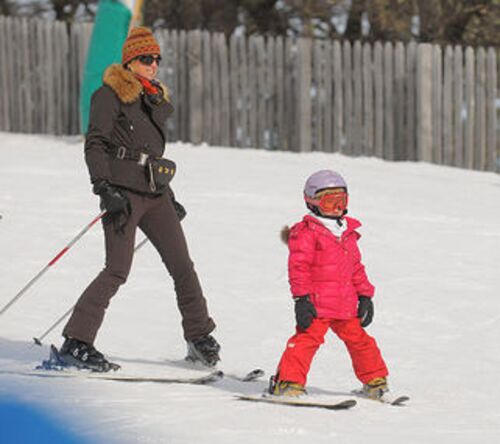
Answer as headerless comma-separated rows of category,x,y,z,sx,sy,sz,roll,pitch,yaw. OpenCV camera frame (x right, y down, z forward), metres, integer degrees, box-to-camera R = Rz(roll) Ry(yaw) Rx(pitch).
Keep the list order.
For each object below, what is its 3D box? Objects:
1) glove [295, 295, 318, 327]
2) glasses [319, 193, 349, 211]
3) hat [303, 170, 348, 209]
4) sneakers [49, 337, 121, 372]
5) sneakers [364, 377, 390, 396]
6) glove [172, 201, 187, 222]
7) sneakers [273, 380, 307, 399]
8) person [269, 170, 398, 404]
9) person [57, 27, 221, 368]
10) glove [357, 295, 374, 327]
glove,0.382,0.622,7.161,0.152,0.254,0.131,6,6,19
glasses,0.593,-0.140,7.238,0.116,0.090,0.169,-2,1,-16
hat,0.523,-0.234,7.396,0.262,0.225,0.243,-3,1,45
sneakers,-1.225,0.959,7.685,0.581,0.274,0.194,3,1,11
sneakers,0.889,1.152,7.350,0.116,0.130,0.164,-9,-12,-30
glove,-0.548,-0.093,7.992,0.097,0.140,0.049,-20,-16,-44
sneakers,0.273,1.147,7.166,0.264,0.120,0.092,-1,-4,18
person,0.587,0.433,7.261,0.824,1.558,0.398,3,6,0
person,-0.803,-0.186,7.701,1.110,2.470,0.535,2,6,-11
glove,0.822,0.619,7.348,0.064,0.194,0.140,-17,-27,28
